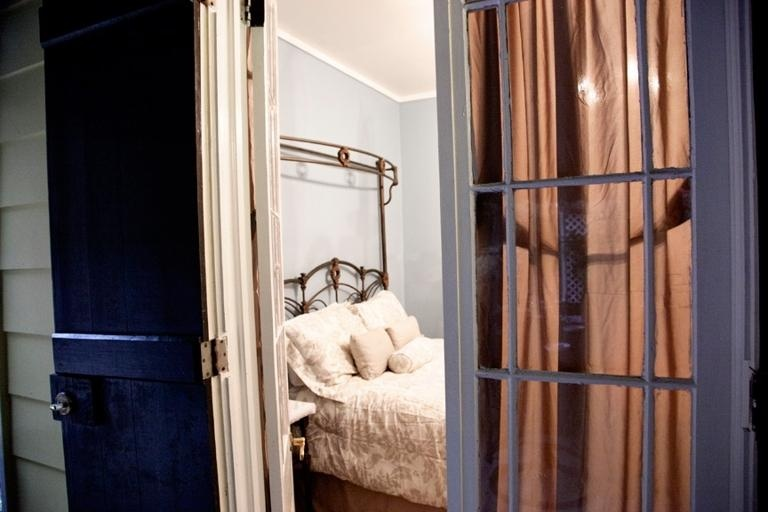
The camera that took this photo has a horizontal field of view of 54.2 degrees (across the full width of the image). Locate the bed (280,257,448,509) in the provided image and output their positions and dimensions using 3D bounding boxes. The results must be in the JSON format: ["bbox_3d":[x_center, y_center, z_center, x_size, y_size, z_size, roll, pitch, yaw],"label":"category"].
[{"bbox_3d":[-0.062,0.714,4.317,1.029,0.813,1.130,3,13,25],"label":"bed"}]
